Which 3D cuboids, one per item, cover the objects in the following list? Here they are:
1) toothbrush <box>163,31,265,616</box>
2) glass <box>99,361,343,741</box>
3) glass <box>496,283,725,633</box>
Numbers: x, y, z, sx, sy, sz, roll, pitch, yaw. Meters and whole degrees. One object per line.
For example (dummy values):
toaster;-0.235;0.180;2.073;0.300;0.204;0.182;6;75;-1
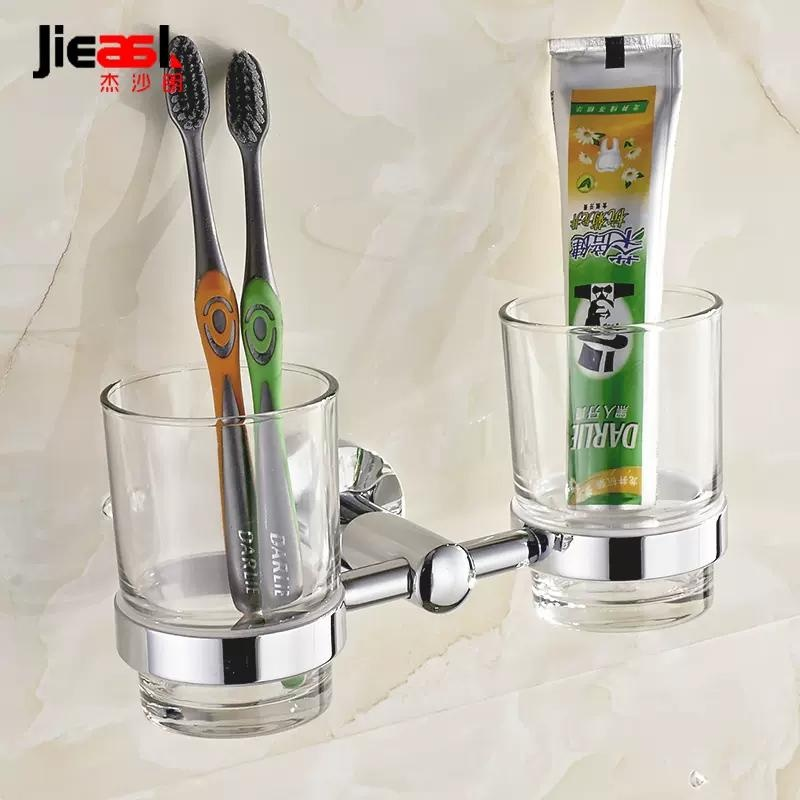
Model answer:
toothbrush;-0.067;-0.032;0.329;0.025;0.257;0.013;-4;2;-27
glass;-0.064;0.052;0.380;0.087;0.129;0.102;-3;14;-32
glass;0.101;0.029;0.477;0.123;0.171;0.094;-2;8;-1
